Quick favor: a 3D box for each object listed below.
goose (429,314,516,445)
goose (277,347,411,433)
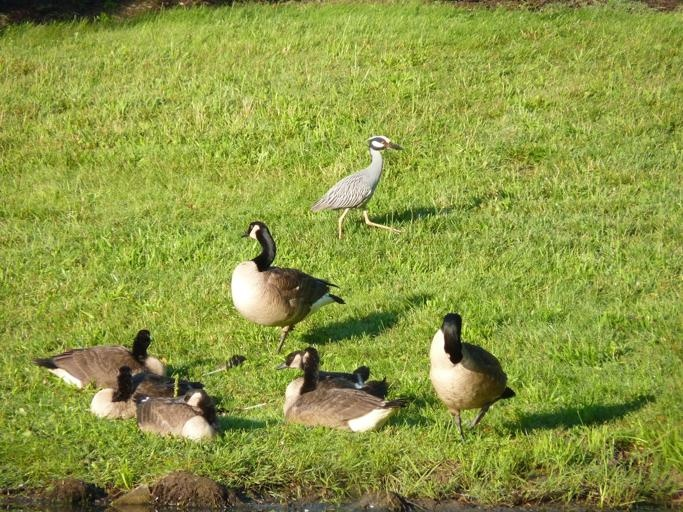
[{"bbox_3d":[2.143,2.075,23.659,1.311,2.133,1.842,2,12,7],"label":"goose"},{"bbox_3d":[-0.063,2.477,23.659,1.991,0.807,1.077,10,38,15],"label":"goose"}]
